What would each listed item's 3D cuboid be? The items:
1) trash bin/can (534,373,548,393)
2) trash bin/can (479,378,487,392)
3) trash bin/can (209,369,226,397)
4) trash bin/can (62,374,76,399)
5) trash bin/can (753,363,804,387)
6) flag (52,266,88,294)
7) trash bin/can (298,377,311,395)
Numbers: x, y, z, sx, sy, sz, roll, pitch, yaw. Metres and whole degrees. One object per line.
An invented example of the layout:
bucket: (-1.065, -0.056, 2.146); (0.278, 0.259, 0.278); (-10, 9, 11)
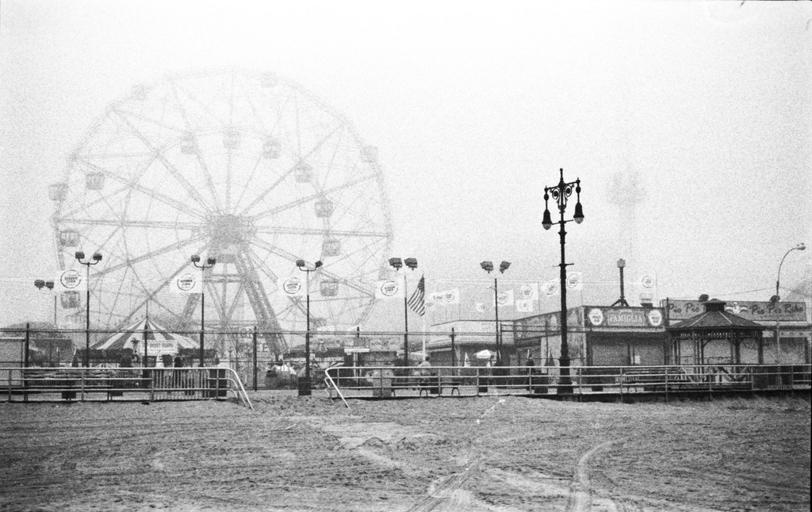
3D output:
trash bin/can: (5.643, 5.400, 50.827); (0.691, 0.758, 0.694); (0, -9, -8)
trash bin/can: (3.269, 5.522, 51.332); (0.355, 0.639, 1.075); (-2, -9, 3)
trash bin/can: (-7.806, 5.264, 49.851); (0.712, 1.196, 0.681); (0, -8, -13)
trash bin/can: (-13.739, 5.420, 49.161); (0.595, 0.902, 2.095); (1, -9, -16)
trash bin/can: (15.844, 5.222, 51.765); (2.478, 0.977, 0.999); (-1, 1, 22)
flag: (-16.994, 1.256, 61.045); (1.854, 1.731, 0.426); (0, 3, 20)
trash bin/can: (-4.388, 5.569, 51.499); (0.616, 0.881, 0.657); (-1, 0, 3)
